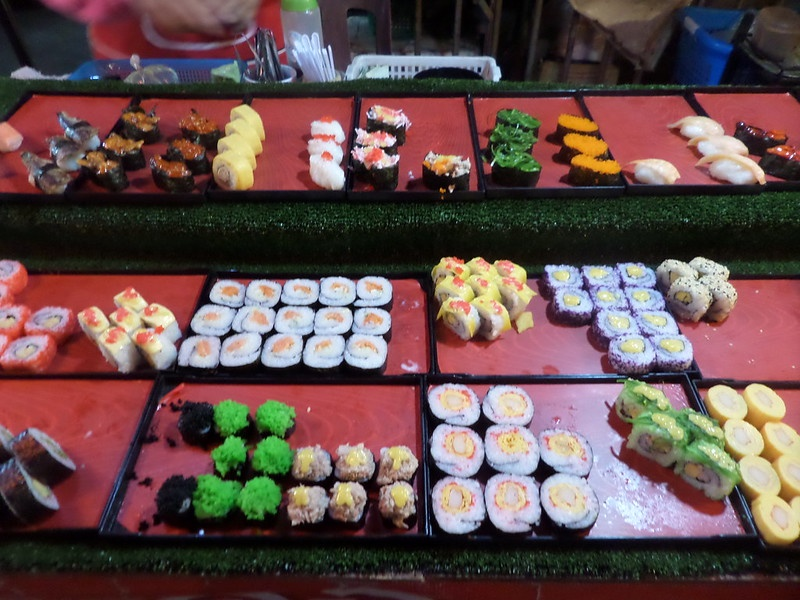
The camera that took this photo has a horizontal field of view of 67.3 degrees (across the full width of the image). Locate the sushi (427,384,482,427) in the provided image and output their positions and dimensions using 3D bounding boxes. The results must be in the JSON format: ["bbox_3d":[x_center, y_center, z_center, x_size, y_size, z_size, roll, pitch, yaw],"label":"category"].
[{"bbox_3d":[0.232,0.453,2.644,0.185,0.058,0.165,-17,46,-22],"label":"sushi"}]

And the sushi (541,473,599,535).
[{"bbox_3d":[0.681,0.822,2.442,0.225,0.064,0.221,4,54,3],"label":"sushi"}]

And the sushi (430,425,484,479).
[{"bbox_3d":[0.233,0.646,2.555,0.229,0.075,0.218,21,56,14],"label":"sushi"}]

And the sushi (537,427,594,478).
[{"bbox_3d":[0.695,0.645,2.532,0.186,0.050,0.183,19,43,12],"label":"sushi"}]

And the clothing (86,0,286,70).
[{"bbox_3d":[-1.210,-1.474,3.419,0.991,0.250,0.961,0,30,-1],"label":"clothing"}]
